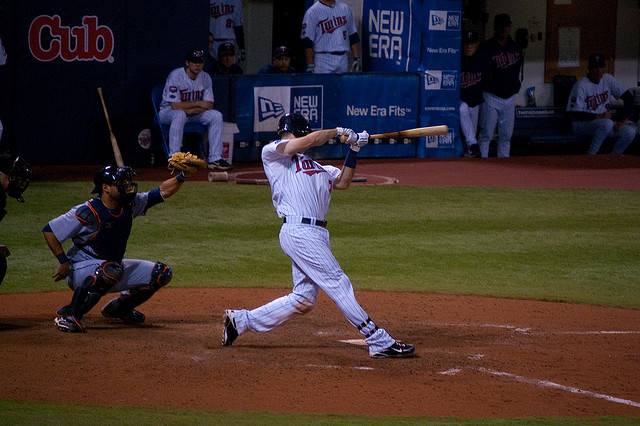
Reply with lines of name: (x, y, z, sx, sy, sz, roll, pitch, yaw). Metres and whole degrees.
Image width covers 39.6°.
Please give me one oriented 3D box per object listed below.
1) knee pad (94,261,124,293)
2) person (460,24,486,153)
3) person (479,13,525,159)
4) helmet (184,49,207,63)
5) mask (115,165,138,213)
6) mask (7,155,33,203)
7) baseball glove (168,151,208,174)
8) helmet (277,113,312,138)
knee pad: (-2.164, 0.651, 9.138, 0.324, 0.160, 0.247, -32, -44, 22)
person: (3.005, -2.389, 17.310, 0.492, 2.368, 0.555, 3, 10, 9)
person: (3.522, -2.527, 17.425, 0.801, 2.814, 0.988, 3, 10, 10)
helmet: (-2.114, -2.692, 14.964, 0.347, 0.182, 0.253, -1, 1, 39)
mask: (-2.015, -0.271, 9.236, 0.319, 0.399, 0.393, 3, 0, -17)
mask: (-3.183, -0.366, 9.446, 0.241, 0.504, 0.417, -2, 10, -18)
baseball glove: (-1.354, -0.532, 9.373, 0.238, 0.087, 0.311, 23, 6, 32)
helmet: (-0.254, -0.919, 9.110, 0.308, 0.254, 0.226, -19, 9, -26)
